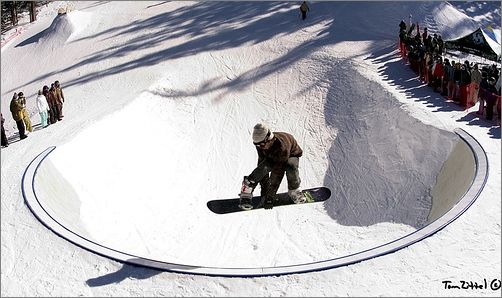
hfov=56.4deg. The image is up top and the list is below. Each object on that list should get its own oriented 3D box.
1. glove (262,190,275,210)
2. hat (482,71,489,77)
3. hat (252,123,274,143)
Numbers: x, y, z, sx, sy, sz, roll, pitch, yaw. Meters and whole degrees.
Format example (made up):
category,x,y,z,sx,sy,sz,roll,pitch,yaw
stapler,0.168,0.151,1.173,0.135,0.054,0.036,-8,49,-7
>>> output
category,x,y,z,sx,sy,sz,roll,pitch,yaw
glove,0.637,1.707,15.671,0.368,0.659,0.148,17,14,16
hat,10.104,-3.207,20.042,0.248,0.266,0.264,8,4,5
hat,0.359,-0.528,14.859,0.603,0.512,0.551,-9,-19,39
